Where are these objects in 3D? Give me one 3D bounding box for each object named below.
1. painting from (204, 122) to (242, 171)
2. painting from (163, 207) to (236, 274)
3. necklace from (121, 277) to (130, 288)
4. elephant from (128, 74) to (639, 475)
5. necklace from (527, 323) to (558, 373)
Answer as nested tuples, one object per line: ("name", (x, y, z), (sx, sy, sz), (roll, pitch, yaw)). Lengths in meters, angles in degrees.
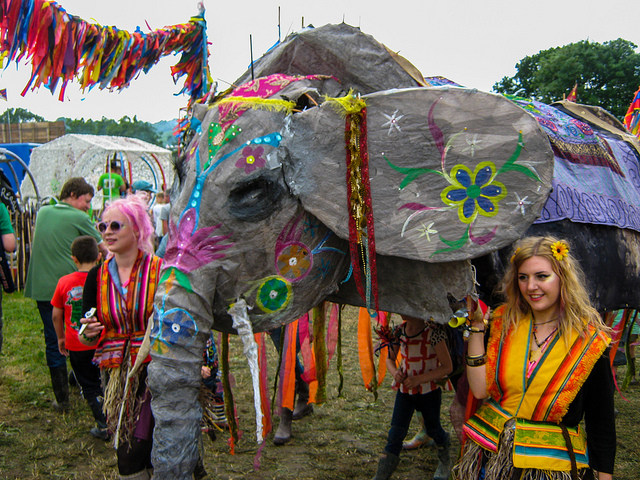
("painting", (-0.524, -0.519, 3.723), (0.196, 0.263, 0.031), (1, -5, 15))
("painting", (-0.659, 0.004, 3.717), (0.374, 0.360, 0.115), (0, -5, 20))
("necklace", (-1.311, 0.292, 4.654), (0.048, 0.012, 0.046), (-47, -2, 25))
("elephant", (0.578, -0.144, 4.559), (3.411, 2.145, 2.187), (-2, 1, -27))
("necklace", (1.310, 0.647, 4.046), (0.027, 0.335, 0.030), (41, -20, -24))
